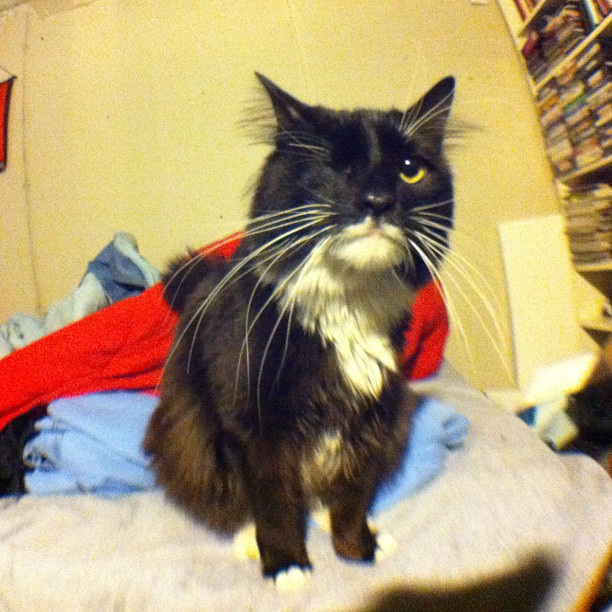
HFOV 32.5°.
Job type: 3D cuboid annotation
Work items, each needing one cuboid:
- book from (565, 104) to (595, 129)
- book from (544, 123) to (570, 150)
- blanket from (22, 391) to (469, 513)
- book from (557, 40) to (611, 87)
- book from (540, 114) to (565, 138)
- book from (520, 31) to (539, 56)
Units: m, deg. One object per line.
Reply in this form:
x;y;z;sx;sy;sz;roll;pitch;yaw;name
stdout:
0.556;-0.393;2.150;0.041;0.042;0.010;-36;6;27;book
0.515;-0.354;2.166;0.011;0.042;0.040;20;-53;-40;book
-0.234;0.298;2.157;0.505;0.144;0.403;-4;-2;12;blanket
0.560;-0.495;2.127;0.025;0.075;0.118;-10;7;-38;book
0.507;-0.373;2.176;0.039;0.012;0.041;-43;28;30;book
0.462;-0.547;2.178;0.009;0.043;0.025;12;18;-44;book
